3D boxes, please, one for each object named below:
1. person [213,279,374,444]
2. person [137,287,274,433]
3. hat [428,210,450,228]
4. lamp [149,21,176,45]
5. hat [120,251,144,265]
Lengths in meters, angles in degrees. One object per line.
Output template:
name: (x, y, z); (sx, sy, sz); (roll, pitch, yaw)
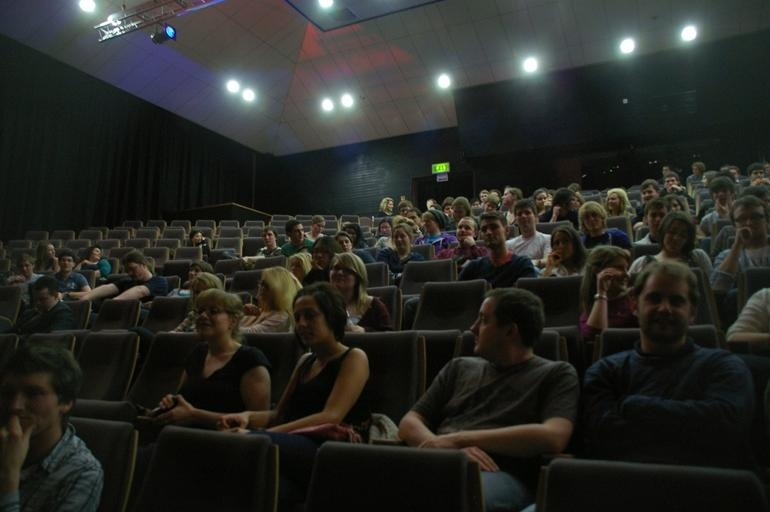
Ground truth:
person: (-0.463, 0.582, 2.774); (0.572, 0.916, 0.793); (-9, -15, 35)
person: (-1.094, 0.603, 3.131); (0.699, 0.846, 0.552); (9, -14, -30)
hat: (0.731, -0.495, 6.956); (0.309, 0.159, 0.253); (25, -8, -36)
lamp: (-4.420, -4.402, 10.647); (0.650, 0.545, 0.209); (0, 6, 30)
hat: (-2.799, 0.012, 5.864); (0.140, 0.185, 0.197); (5, 9, 24)
